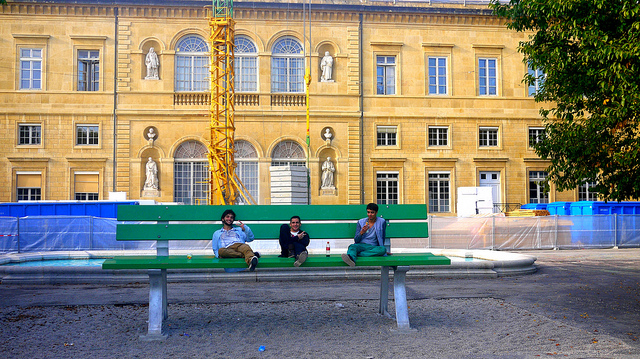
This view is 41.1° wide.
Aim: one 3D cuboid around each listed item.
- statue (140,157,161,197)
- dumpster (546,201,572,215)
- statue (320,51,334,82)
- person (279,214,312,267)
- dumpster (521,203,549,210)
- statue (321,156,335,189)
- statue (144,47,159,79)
[{"bbox_3d":[-12.335,-0.095,62.008,1.384,2.809,0.541,-1,-1,-11],"label":"statue"},{"bbox_3d":[16.162,2.030,57.999,1.214,0.896,0.722,2,-2,4],"label":"dumpster"},{"bbox_3d":[0.482,-8.382,63.737,0.964,2.259,0.387,-1,-1,-2],"label":"statue"},{"bbox_3d":[-1.083,2.669,36.713,1.368,2.201,1.065,-1,-1,1],"label":"person"},{"bbox_3d":[15.325,2.010,61.394,1.183,0.356,3.688,-1,-1,-2],"label":"dumpster"},{"bbox_3d":[0.524,-0.399,63.173,0.976,2.343,0.394,-1,-1,2],"label":"statue"},{"bbox_3d":[-12.404,-8.512,62.721,0.986,2.282,0.340,-1,-1,-3],"label":"statue"}]
